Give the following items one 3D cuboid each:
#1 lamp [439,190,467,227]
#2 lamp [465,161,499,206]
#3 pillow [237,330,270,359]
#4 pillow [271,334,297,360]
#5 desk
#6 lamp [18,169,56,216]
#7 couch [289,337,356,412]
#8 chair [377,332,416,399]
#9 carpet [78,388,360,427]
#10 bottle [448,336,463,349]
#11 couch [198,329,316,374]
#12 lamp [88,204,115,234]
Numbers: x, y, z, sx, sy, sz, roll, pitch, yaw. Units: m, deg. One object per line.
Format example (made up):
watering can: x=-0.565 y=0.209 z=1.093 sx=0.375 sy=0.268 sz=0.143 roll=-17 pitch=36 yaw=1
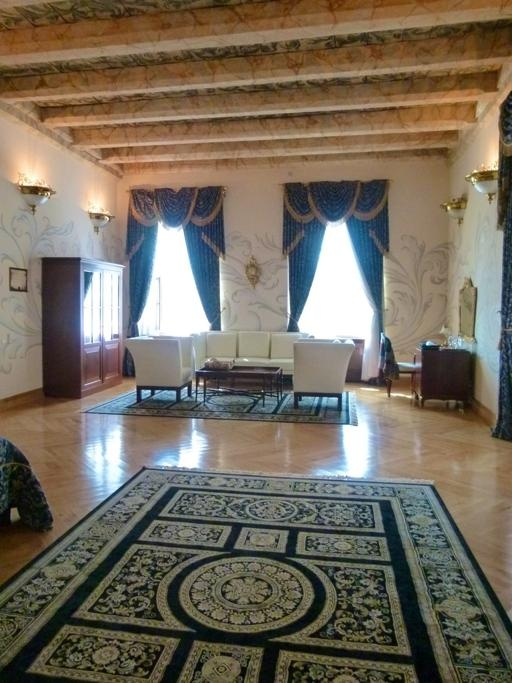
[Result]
lamp: x=3.087 y=-1.990 z=7.517 sx=0.513 sy=0.450 sz=0.440 roll=-3 pitch=8 yaw=-23
lamp: x=2.639 y=-1.826 z=5.697 sx=0.432 sy=0.304 sz=0.430 roll=-1 pitch=3 yaw=3
pillow: x=0.003 y=0.071 z=8.967 sx=0.773 sy=0.687 sz=0.398 roll=0 pitch=-3 yaw=7
pillow: x=0.495 y=0.078 z=8.648 sx=0.470 sy=0.435 sz=0.433 roll=0 pitch=1 yaw=7
desk: x=2.777 y=0.616 z=6.978 sx=0.613 sy=0.765 sz=1.115 roll=-1 pitch=-12 yaw=31
lamp: x=-2.942 y=-2.000 z=6.731 sx=0.489 sy=0.486 sz=0.493 roll=2 pitch=4 yaw=34
couch: x=0.888 y=0.434 z=6.616 sx=0.872 sy=0.857 sz=1.051 roll=2 pitch=0 yaw=-1
chair: x=2.167 y=0.357 z=7.569 sx=0.665 sy=0.908 sz=0.690 roll=0 pitch=0 yaw=-17
carpet: x=-0.378 y=0.866 z=6.606 sx=3.376 sy=0.057 sz=1.572 roll=1 pitch=3 yaw=9
bottle: x=2.989 y=0.025 z=7.389 sx=0.256 sy=0.104 sz=0.367 roll=1 pitch=5 yaw=23
couch: x=-0.057 y=0.228 z=8.620 sx=2.017 sy=0.800 sz=0.673 roll=1 pitch=4 yaw=7
lamp: x=-2.762 y=-2.142 z=8.687 sx=0.407 sy=0.365 sz=0.408 roll=1 pitch=2 yaw=32
